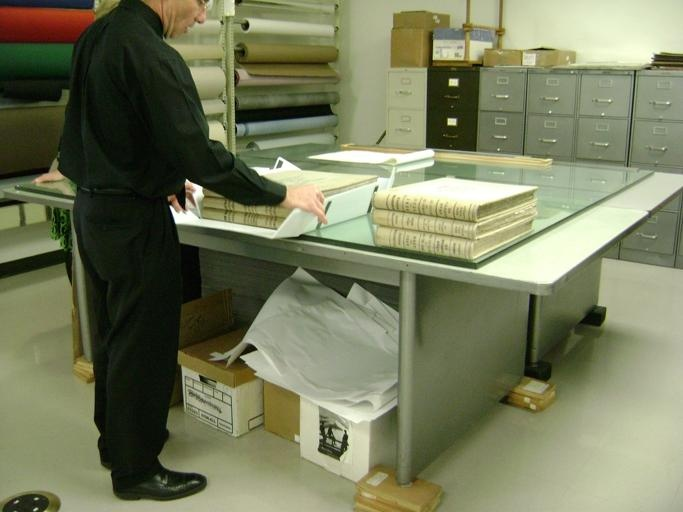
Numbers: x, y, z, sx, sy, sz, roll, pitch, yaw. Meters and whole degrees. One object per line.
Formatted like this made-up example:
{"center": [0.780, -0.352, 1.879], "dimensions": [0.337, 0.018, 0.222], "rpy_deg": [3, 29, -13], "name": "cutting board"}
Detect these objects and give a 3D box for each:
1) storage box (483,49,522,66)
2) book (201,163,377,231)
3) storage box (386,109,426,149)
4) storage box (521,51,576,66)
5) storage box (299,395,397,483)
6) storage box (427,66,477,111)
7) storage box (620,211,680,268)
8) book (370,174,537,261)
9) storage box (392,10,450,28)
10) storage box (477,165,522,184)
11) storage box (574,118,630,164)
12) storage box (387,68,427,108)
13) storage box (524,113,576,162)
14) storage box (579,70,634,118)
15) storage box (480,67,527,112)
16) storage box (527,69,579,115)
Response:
{"center": [1.441, -1.768, 5.272], "dimensions": [0.291, 0.142, 0.279], "rpy_deg": [0, 20, 4], "name": "storage box"}
{"center": [-0.218, -0.184, 2.078], "dimensions": [0.339, 0.085, 0.360], "rpy_deg": [10, 24, 31], "name": "book"}
{"center": [0.555, -1.276, 5.964], "dimensions": [0.530, 0.376, 0.324], "rpy_deg": [-7, 10, -35], "name": "storage box"}
{"center": [1.869, -1.729, 5.151], "dimensions": [0.593, 0.137, 0.288], "rpy_deg": [-13, 23, -30], "name": "storage box"}
{"center": [0.036, 0.667, 2.233], "dimensions": [0.321, 0.240, 0.324], "rpy_deg": [11, 17, 37], "name": "storage box"}
{"center": [1.039, -1.542, 5.443], "dimensions": [0.426, 0.322, 0.431], "rpy_deg": [11, 20, 33], "name": "storage box"}
{"center": [2.201, -0.116, 4.142], "dimensions": [0.349, 0.358, 0.235], "rpy_deg": [10, 19, 36], "name": "storage box"}
{"center": [0.279, -0.173, 1.818], "dimensions": [0.360, 0.125, 0.303], "rpy_deg": [10, 21, 39], "name": "book"}
{"center": [0.793, -2.271, 5.711], "dimensions": [0.581, 0.164, 0.420], "rpy_deg": [-3, 20, -4], "name": "storage box"}
{"center": [0.718, -0.373, 2.663], "dimensions": [0.166, 0.045, 0.177], "rpy_deg": [12, 20, 33], "name": "storage box"}
{"center": [2.138, -0.973, 4.839], "dimensions": [0.362, 0.281, 0.374], "rpy_deg": [15, 27, 37], "name": "storage box"}
{"center": [0.571, -1.622, 5.879], "dimensions": [0.444, 0.443, 0.337], "rpy_deg": [-6, 15, -22], "name": "storage box"}
{"center": [1.786, -1.028, 5.043], "dimensions": [0.374, 0.362, 0.387], "rpy_deg": [11, 20, 34], "name": "storage box"}
{"center": [2.117, -1.293, 4.730], "dimensions": [0.359, 0.342, 0.368], "rpy_deg": [12, 24, 35], "name": "storage box"}
{"center": [1.425, -1.462, 5.180], "dimensions": [0.370, 0.293, 0.397], "rpy_deg": [10, 25, 28], "name": "storage box"}
{"center": [1.770, -1.371, 4.949], "dimensions": [0.365, 0.323, 0.373], "rpy_deg": [13, 35, 28], "name": "storage box"}
